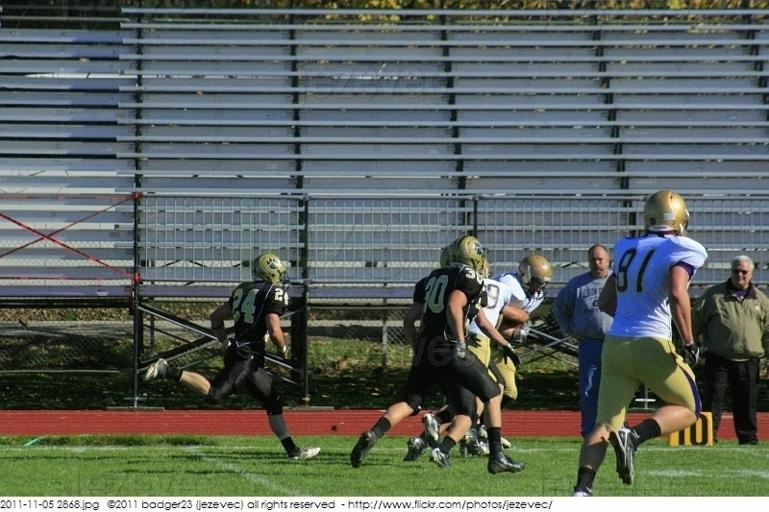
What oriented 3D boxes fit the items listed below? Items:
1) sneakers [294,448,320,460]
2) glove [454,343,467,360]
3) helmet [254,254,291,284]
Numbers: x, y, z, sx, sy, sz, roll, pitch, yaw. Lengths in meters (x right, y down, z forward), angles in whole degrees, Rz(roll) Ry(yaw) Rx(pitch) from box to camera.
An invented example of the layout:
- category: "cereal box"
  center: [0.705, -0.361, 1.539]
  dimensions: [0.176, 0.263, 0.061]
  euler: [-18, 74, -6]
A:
- category: "sneakers"
  center: [-1.144, 3.001, 26.095]
  dimensions: [0.447, 0.155, 0.136]
  euler: [-9, 43, -3]
- category: "glove"
  center: [1.083, 1.404, 25.290]
  dimensions: [0.216, 0.276, 0.243]
  euler: [2, 0, 0]
- category: "helmet"
  center: [-1.666, 0.160, 26.503]
  dimensions: [0.556, 0.392, 0.392]
  euler: [-2, 12, -16]
